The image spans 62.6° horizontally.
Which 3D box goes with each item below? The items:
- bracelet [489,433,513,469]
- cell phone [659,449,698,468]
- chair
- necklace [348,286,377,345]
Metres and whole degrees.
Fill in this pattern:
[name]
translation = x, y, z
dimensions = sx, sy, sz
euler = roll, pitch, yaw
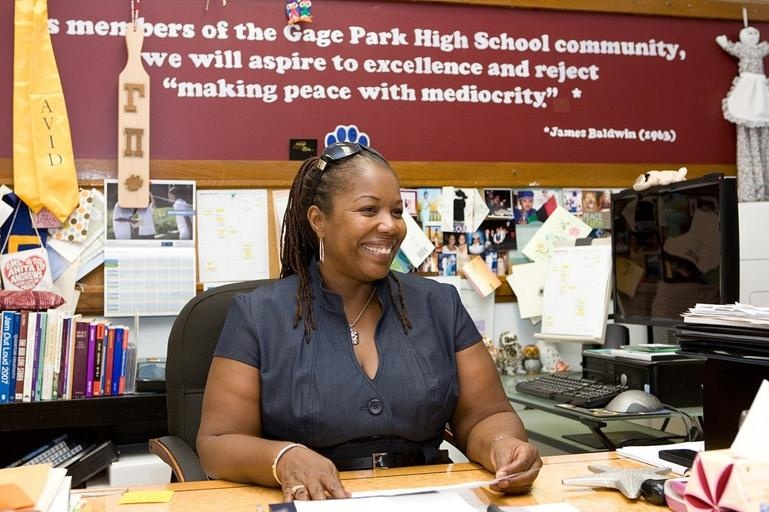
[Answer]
[bracelet]
translation = 0.293, 0.492, 1.600
dimensions = 0.022, 0.062, 0.047
euler = 1, 10, 29
[cell phone]
translation = 0.761, 0.521, 1.636
dimensions = 0.071, 0.018, 0.077
euler = -1, 4, 10
[chair]
translation = -0.332, 0.393, 2.325
dimensions = 0.642, 0.891, 0.730
euler = 1, -10, -15
[necklace]
translation = -0.065, 0.168, 1.773
dimensions = 0.053, 0.163, 0.008
euler = 25, -38, -7
